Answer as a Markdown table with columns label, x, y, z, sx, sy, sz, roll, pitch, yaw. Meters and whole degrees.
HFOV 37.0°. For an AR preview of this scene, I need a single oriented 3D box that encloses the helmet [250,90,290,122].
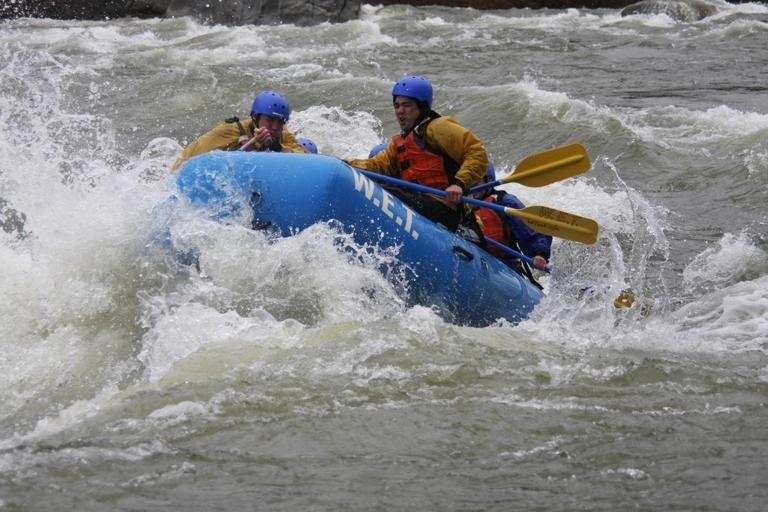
| label | x | y | z | sx | sy | sz | roll | pitch | yaw |
| --- | --- | --- | --- | --- | --- | --- | --- | --- | --- |
| helmet | -1.349 | -1.707 | 13.358 | 0.462 | 0.333 | 0.342 | -4 | -21 | 33 |

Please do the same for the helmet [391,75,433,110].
| label | x | y | z | sx | sy | sz | roll | pitch | yaw |
| --- | --- | --- | --- | --- | --- | --- | --- | --- | --- |
| helmet | 0.339 | -1.841 | 12.972 | 0.530 | 0.337 | 0.394 | -5 | 19 | -45 |
